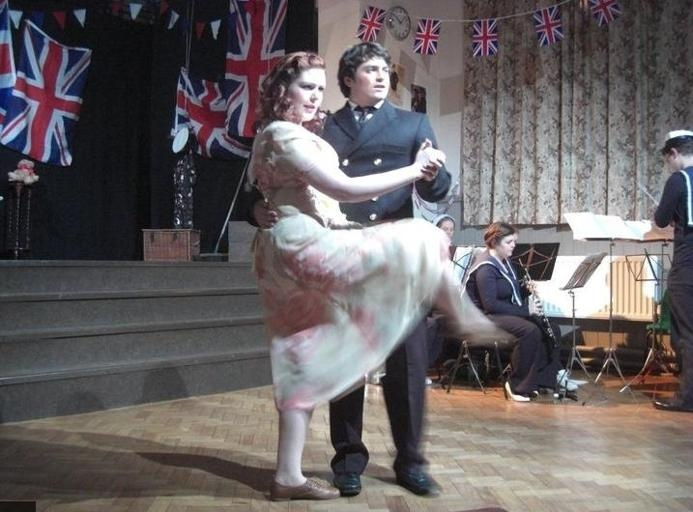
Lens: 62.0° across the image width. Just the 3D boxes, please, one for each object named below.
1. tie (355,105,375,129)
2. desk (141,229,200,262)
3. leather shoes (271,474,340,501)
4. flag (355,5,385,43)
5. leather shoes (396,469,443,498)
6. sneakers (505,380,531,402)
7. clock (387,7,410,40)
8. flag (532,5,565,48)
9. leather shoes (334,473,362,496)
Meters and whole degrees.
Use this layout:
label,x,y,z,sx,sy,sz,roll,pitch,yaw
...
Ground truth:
label,x,y,z,sx,sy,sz,roll,pitch,yaw
tie,0.094,-0.662,2.714,0.097,0.105,0.031,23,3,35
desk,-1.810,-0.120,5.893,0.420,0.287,0.445,1,2,6
leather shoes,-0.187,1.076,2.617,0.318,0.115,0.121,2,-11,-13
flag,0.256,-2.512,6.211,0.280,0.382,0.287,1,3,0
leather shoes,0.334,1.069,2.709,0.184,0.096,0.103,0,-1,33
sneakers,1.348,1.082,4.542,0.182,0.192,0.099,-12,-18,23
clock,0.602,-2.793,6.871,0.048,0.307,0.308,-1,35,50
flag,2.168,-2.511,6.205,0.280,0.385,0.207,2,3,20
leather shoes,0.008,1.085,2.719,0.059,0.082,0.181,2,-2,-12
